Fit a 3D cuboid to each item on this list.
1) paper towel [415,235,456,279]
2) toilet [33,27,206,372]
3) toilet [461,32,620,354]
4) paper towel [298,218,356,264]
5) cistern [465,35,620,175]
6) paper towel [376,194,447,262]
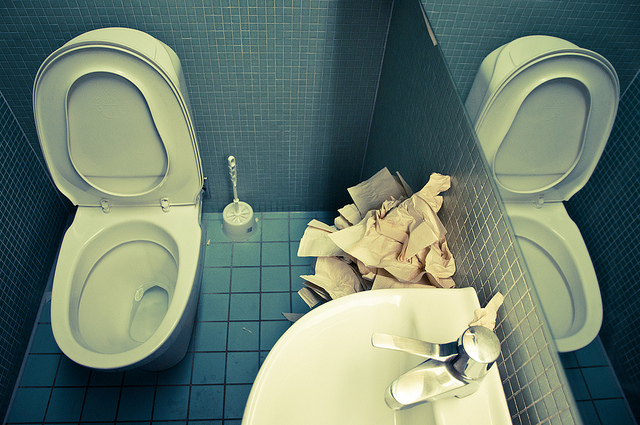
[{"bbox_3d":[0.337,0.137,1.371,0.111,0.042,0.115,-33,87,-5],"label":"paper towel"},{"bbox_3d":[-0.756,-0.025,1.760,0.459,1.137,0.981,-1,59,-5],"label":"toilet"},{"bbox_3d":[0.390,-0.075,1.119,0.260,0.584,0.691,0,62,12],"label":"toilet"},{"bbox_3d":[0.001,0.081,1.473,0.135,0.047,0.139,10,66,2],"label":"paper towel"},{"bbox_3d":[0.612,-0.234,1.236,0.234,0.356,0.354,11,89,27],"label":"cistern"},{"bbox_3d":[0.255,0.040,1.351,0.208,0.070,0.170,-41,78,20],"label":"paper towel"}]
